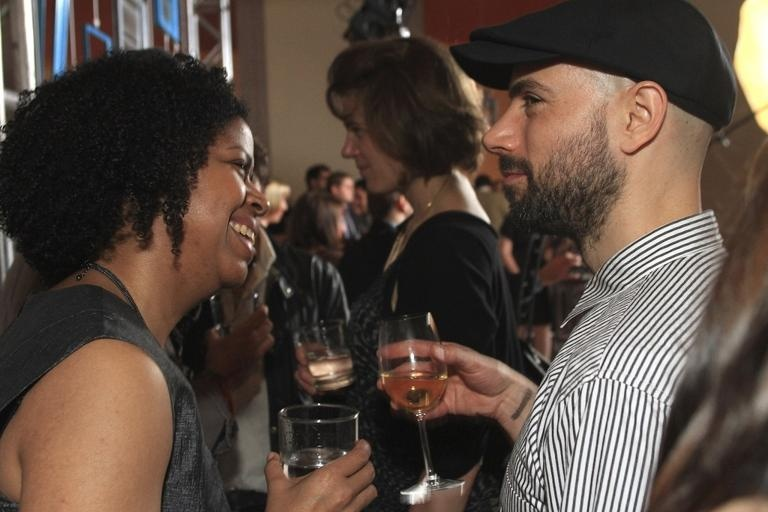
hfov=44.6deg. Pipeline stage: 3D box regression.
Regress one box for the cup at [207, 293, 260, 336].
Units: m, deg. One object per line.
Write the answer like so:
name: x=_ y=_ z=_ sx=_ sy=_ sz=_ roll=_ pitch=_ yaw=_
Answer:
cup: x=-0.583 y=0.208 z=3.627 sx=0.134 sy=0.193 sz=0.160 roll=1 pitch=0 yaw=-2
